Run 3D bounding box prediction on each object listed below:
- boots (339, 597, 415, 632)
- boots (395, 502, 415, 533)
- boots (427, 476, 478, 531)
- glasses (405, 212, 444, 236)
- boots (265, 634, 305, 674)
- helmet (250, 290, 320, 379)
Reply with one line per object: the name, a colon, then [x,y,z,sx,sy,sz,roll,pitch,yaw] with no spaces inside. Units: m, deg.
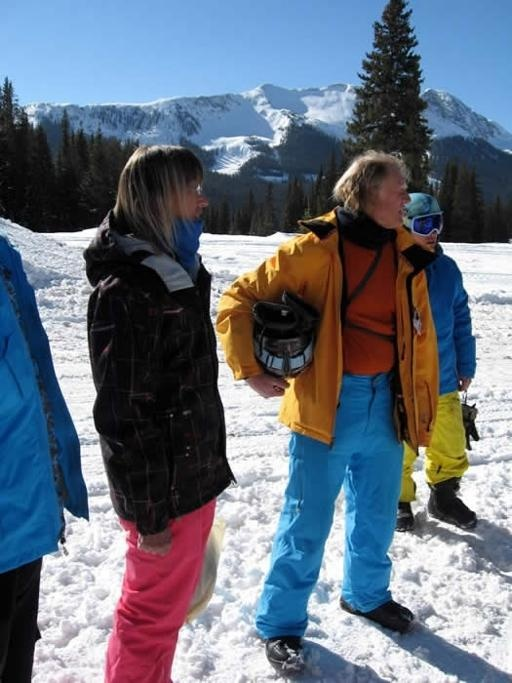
boots: [0.568,1.233,3.294,0.310,0.129,0.114,12,5,21]
boots: [0.885,1.054,4.172,0.092,0.115,0.257,2,27,10]
boots: [1.092,0.987,4.210,0.152,0.309,0.383,-4,5,-44]
glasses: [0.990,-0.688,4.095,0.132,0.086,0.177,-6,16,-7]
boots: [0.123,1.319,2.964,0.146,0.099,0.139,0,13,-12]
helmet: [0.113,-0.026,2.826,0.279,0.333,0.350,3,9,2]
